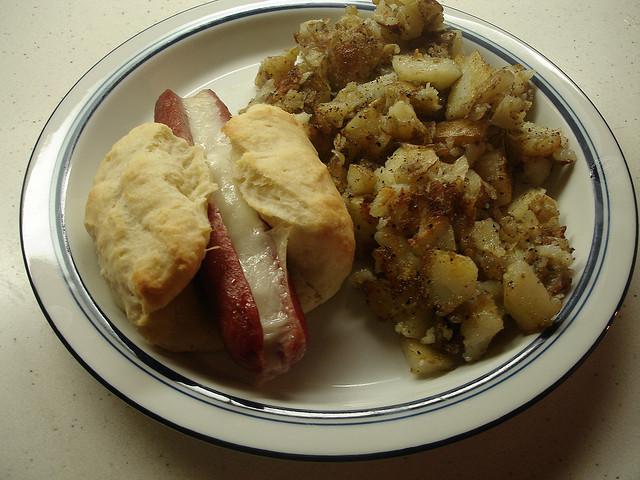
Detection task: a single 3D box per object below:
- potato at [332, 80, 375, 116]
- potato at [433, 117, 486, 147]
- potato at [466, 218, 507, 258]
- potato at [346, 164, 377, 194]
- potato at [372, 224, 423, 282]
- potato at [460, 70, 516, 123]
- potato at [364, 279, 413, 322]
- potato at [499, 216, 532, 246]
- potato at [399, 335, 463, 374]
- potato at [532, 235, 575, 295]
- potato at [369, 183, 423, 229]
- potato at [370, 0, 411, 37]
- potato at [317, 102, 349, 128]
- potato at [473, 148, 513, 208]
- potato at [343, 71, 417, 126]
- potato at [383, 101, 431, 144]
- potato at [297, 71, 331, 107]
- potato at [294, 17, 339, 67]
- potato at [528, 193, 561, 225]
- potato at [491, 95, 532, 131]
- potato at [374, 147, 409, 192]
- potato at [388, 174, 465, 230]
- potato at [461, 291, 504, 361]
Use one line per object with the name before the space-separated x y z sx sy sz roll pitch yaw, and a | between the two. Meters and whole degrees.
potato | 0.162 -0.622 2.750 0.151 0.043 0.147 -30 41 15
potato | 0.589 -0.453 2.668 0.220 0.045 0.128 1 69 5
potato | 0.682 0.001 2.563 0.156 0.040 0.151 -30 65 -6
potato | 0.175 -0.255 2.621 0.122 0.067 0.112 -4 69 3
potato | 0.312 0.056 2.575 0.196 0.063 0.226 -6 87 12
potato | 0.722 -0.602 2.754 0.174 0.082 0.266 43 95 5
potato | 0.285 0.238 2.620 0.191 0.131 0.169 -5 69 3
potato | 0.792 -0.033 2.555 0.119 0.038 0.110 4 81 3
potato | 0.451 0.490 2.600 0.267 0.085 0.134 13 71 9
potato | 0.951 0.098 2.590 0.223 0.070 0.218 2 95 -7
potato | 0.289 -0.134 2.628 0.156 0.050 0.189 14 87 10
potato | 0.317 -1.013 2.869 0.154 0.053 0.161 -38 85 -15
potato | 0.063 -0.535 2.725 0.114 0.032 0.109 -32 83 -2
potato | 0.718 -0.262 2.745 0.225 0.077 0.229 15 70 -34
potato | 0.275 -0.641 2.783 0.307 0.509 0.117 3 79 -5
potato | 0.358 -0.482 2.584 0.173 0.059 0.159 -2 106 0
potato | -0.004 -0.677 2.812 0.155 0.049 0.145 -6 89 -17
potato | -0.013 -0.894 2.917 0.229 0.078 0.209 -30 65 37
potato | 0.942 -0.132 2.678 0.136 0.047 0.126 13 81 -25
potato | 0.821 -0.538 2.705 0.154 0.145 0.048 -4 39 -16
potato | 0.290 -0.295 2.596 0.188 0.044 0.119 -46 39 17
potato | 0.407 -0.120 2.728 0.305 0.455 0.107 -1 84 -5
potato | 0.642 0.347 2.541 0.177 0.077 0.247 36 116 24
